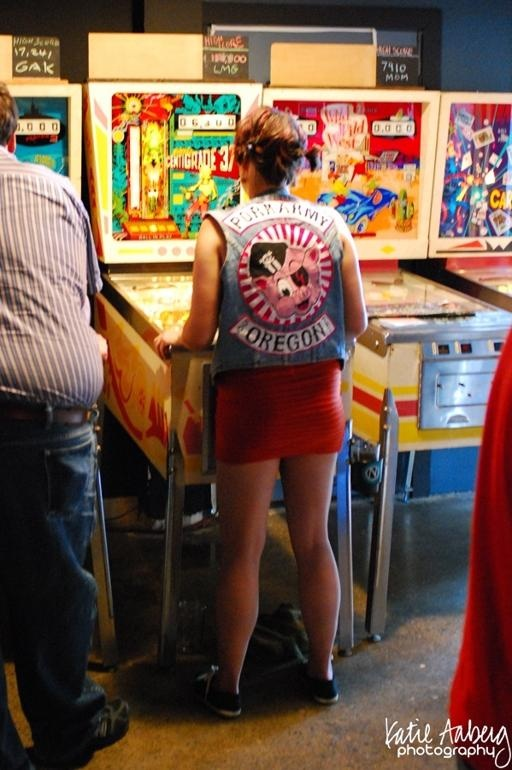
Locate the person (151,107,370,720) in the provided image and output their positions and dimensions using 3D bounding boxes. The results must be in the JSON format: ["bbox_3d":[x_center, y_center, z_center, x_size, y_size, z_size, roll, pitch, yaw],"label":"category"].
[{"bbox_3d":[0.057,0.136,1.604,0.468,1.594,0.219,-3,10,-20],"label":"person"}]

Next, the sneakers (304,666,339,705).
[{"bbox_3d":[0.192,0.864,1.838,0.046,0.068,0.142,-1,8,-9],"label":"sneakers"}]
